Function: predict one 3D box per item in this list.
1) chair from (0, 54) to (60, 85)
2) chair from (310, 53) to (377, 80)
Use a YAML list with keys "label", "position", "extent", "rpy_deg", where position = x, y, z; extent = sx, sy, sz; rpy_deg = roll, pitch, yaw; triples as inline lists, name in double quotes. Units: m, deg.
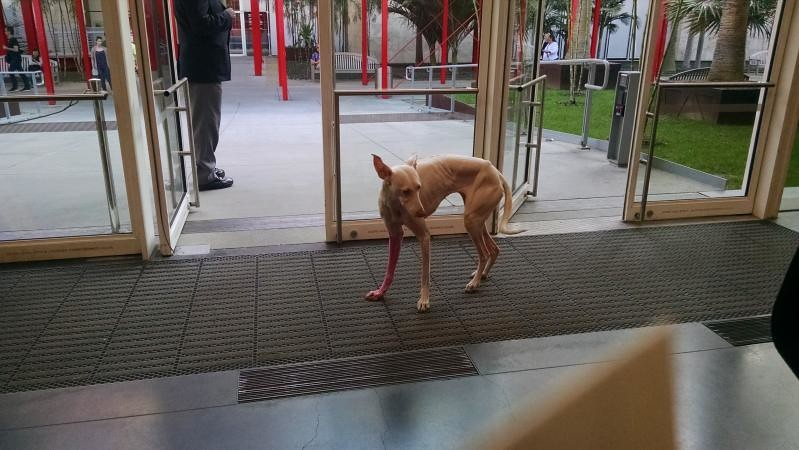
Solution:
- label: "chair"
  position: [-3.506, -1.460, 4.632]
  extent: [0.321, 0.186, 0.108]
  rpy_deg: [-4, 23, -15]
- label: "chair"
  position: [-0.584, -1.628, 5.051]
  extent: [0.711, 0.273, 0.393]
  rpy_deg: [3, 22, 8]
